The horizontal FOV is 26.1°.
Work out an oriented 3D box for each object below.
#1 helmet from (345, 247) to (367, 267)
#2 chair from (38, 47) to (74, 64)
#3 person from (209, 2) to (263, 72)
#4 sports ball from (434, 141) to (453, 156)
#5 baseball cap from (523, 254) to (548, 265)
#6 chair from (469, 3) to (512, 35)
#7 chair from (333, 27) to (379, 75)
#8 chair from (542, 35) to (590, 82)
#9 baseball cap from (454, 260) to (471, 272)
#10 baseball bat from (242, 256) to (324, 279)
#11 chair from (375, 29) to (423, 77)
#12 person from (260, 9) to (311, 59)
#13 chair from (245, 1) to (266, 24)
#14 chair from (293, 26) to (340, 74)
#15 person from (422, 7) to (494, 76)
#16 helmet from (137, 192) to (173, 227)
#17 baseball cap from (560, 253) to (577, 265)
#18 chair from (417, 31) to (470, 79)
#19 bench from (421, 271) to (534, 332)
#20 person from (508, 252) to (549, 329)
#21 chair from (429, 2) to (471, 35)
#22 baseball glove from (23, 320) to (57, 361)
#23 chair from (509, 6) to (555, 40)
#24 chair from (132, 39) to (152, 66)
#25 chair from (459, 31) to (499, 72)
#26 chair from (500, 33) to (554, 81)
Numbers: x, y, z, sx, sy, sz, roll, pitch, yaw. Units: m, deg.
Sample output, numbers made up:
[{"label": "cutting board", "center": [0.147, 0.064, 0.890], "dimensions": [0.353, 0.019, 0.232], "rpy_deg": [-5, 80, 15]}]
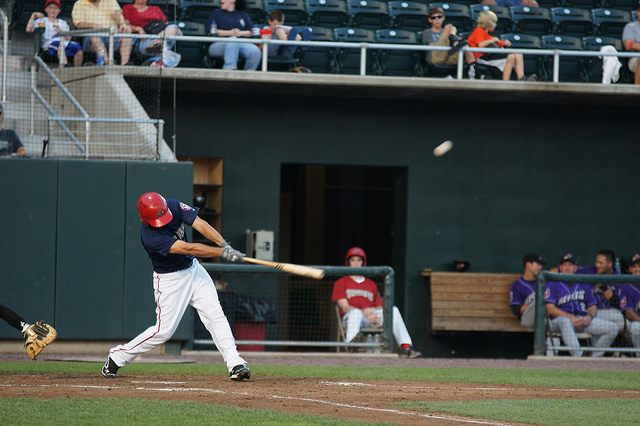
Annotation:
[{"label": "helmet", "center": [0.578, 0.704, 22.142], "dimensions": [0.247, 0.267, 0.339], "rpy_deg": [1, -7, 1]}, {"label": "chair", "center": [-4.429, -2.573, 22.820], "dimensions": [0.411, 0.162, 0.309], "rpy_deg": [4, 8, -2]}, {"label": "person", "center": [-1.374, -2.911, 22.760], "dimensions": [0.632, 1.500, 0.720], "rpy_deg": [4, -1, -38]}, {"label": "sports ball", "center": [2.051, -1.090, 23.293], "dimensions": [0.169, 0.168, 0.362], "rpy_deg": [7, -27, -39]}, {"label": "baseball cap", "center": [3.517, 0.774, 22.655], "dimensions": [0.275, 0.164, 0.196], "rpy_deg": [3, 2, 5]}, {"label": "chair", "center": [3.003, -3.489, 24.469], "dimensions": [0.635, 0.630, 0.607], "rpy_deg": [0, -4, -14]}, {"label": "chair", "center": [0.738, -2.718, 23.533], "dimensions": [0.719, 1.013, 0.842], "rpy_deg": [1, -5, -10]}, {"label": "chair", "center": [4.249, -2.674, 23.680], "dimensions": [0.744, 1.042, 0.856], "rpy_deg": [1, -3, -2]}, {"label": "baseball cap", "center": [2.419, 0.901, 23.378], "dimensions": [0.271, 0.161, 0.198], "rpy_deg": [2, 13, 1]}, {"label": "baseball bat", "center": [-0.627, 0.859, 21.258], "dimensions": [1.026, 0.133, 0.166], "rpy_deg": [14, -25, -6]}, {"label": "chair", "center": [1.363, -2.721, 23.196], "dimensions": [0.908, 0.940, 0.828], "rpy_deg": [-4, -8, -6]}, {"label": "person", "center": [-0.596, -2.978, 22.993], "dimensions": [0.763, 0.750, 0.698], "rpy_deg": [-3, 14, -19]}, {"label": "chair", "center": [-1.129, -3.458, 23.991], "dimensions": [0.404, 0.537, 0.357], "rpy_deg": [0, -6, -10]}, {"label": "chair", "center": [-0.088, -2.653, 22.916], "dimensions": [0.814, 0.915, 0.835], "rpy_deg": [-8, 6, -23]}, {"label": "person", "center": [2.193, -2.825, 23.072], "dimensions": [0.939, 1.494, 0.789], "rpy_deg": [4, -1, -9]}, {"label": "helmet", "center": [-2.271, -0.064, 18.750], "dimensions": [0.416, 0.302, 0.571], "rpy_deg": [-28, 39, -19]}, {"label": "baseball cap", "center": [4.037, 0.753, 22.351], "dimensions": [0.287, 0.183, 0.291], "rpy_deg": [10, 15, 30]}, {"label": "chair", "center": [2.060, -2.585, 23.171], "dimensions": [0.598, 0.659, 0.573], "rpy_deg": [3, -3, -34]}, {"label": "bench", "center": [2.704, 1.647, 22.939], "dimensions": [1.785, 0.907, 0.795], "rpy_deg": [0, 28, -6]}, {"label": "person", "center": [3.391, 1.266, 22.591], "dimensions": [0.547, 1.306, 0.482], "rpy_deg": [-1, -2, -3]}, {"label": "chair", "center": [2.317, -3.554, 24.432], "dimensions": [0.631, 0.842, 0.688], "rpy_deg": [0, -4, -5]}, {"label": "baseball glove", "center": [-3.936, 1.816, 19.202], "dimensions": [0.381, 0.523, 0.226], "rpy_deg": [32, -12, 10]}, {"label": "chair", "center": [3.764, -3.429, 24.548], "dimensions": [0.679, 0.651, 0.588], "rpy_deg": [2, 8, -3]}, {"label": "chair", "center": [-2.913, -2.626, 22.476], "dimensions": [0.391, 0.451, 0.240], "rpy_deg": [6, -3, -13]}, {"label": "chair", "center": [2.614, -2.725, 23.230], "dimensions": [0.653, 0.873, 0.324], "rpy_deg": [-2, -16, -1]}, {"label": "chair", "center": [3.668, -2.670, 23.810], "dimensions": [0.874, 1.064, 0.891], "rpy_deg": [1, -4, -4]}]
